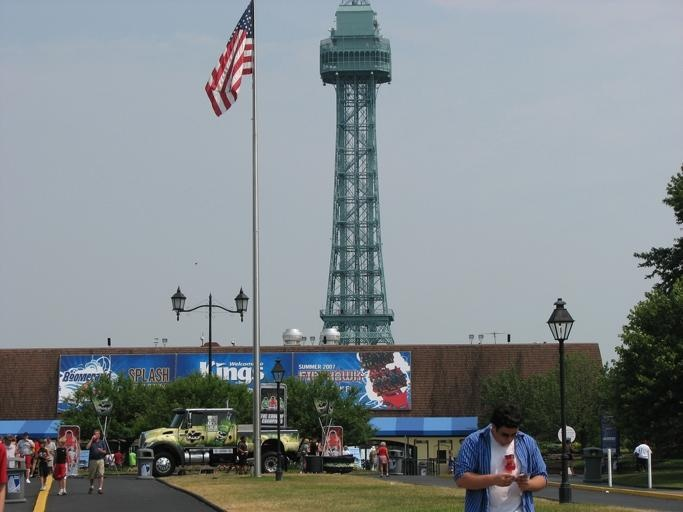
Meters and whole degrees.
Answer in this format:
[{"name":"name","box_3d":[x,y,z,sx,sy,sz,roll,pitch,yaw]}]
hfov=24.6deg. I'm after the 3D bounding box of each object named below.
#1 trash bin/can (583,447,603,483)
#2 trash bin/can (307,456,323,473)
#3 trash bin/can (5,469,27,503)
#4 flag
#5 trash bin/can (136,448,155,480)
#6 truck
[{"name":"trash bin/can","box_3d":[13.049,10.645,80.740,0.947,1.822,1.735,-3,-14,8]},{"name":"trash bin/can","box_3d":[-1.421,11.358,86.593,1.057,1.103,0.796,1,2,8]},{"name":"trash bin/can","box_3d":[-14.532,10.229,70.346,0.839,1.434,1.187,3,-14,-13]},{"name":"flag","box_3d":[-5.400,-9.836,79.079,2.142,6.105,1.137,0,-13,-1]},{"name":"trash bin/can","box_3d":[-10.094,10.666,81.402,0.729,1.682,1.239,3,-14,-13]},{"name":"truck","box_3d":[-6.514,9.826,85.326,8.535,3.260,3.669,2,0,-15]}]
